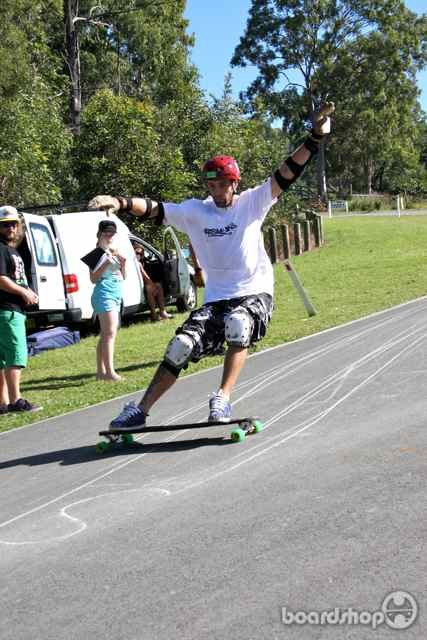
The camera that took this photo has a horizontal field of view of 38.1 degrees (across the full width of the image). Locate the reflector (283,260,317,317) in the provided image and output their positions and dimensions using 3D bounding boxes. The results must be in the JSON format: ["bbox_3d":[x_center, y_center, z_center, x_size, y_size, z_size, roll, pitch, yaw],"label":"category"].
[{"bbox_3d":[1.493,-0.618,10.907,0.155,1.004,0.109,-28,-2,-25],"label":"reflector"}]

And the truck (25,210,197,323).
[{"bbox_3d":[-2.079,-0.994,12.977,2.888,2.296,4.518,-2,8,30],"label":"truck"}]

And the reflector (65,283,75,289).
[{"bbox_3d":[-2.492,-0.613,10.813,0.140,0.067,0.039,-9,4,-24],"label":"reflector"}]

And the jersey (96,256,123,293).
[{"bbox_3d":[-1.215,-0.542,7.391,0.335,0.350,0.297,-9,4,-24],"label":"jersey"}]

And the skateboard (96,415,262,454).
[{"bbox_3d":[-0.238,0.718,4.040,1.146,0.190,0.434,-4,-1,5],"label":"skateboard"}]

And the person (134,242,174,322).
[{"bbox_3d":[-1.380,-0.782,13.056,1.127,1.498,0.702,-6,3,11],"label":"person"}]

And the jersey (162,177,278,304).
[{"bbox_3d":[0.070,-0.528,4.287,0.754,0.567,0.243,-8,4,-5],"label":"jersey"}]

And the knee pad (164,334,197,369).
[{"bbox_3d":[-0.213,0.214,4.129,0.174,0.223,0.081,25,-4,11],"label":"knee pad"}]

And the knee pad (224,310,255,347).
[{"bbox_3d":[0.167,0.057,3.992,0.177,0.222,0.229,2,3,10],"label":"knee pad"}]
